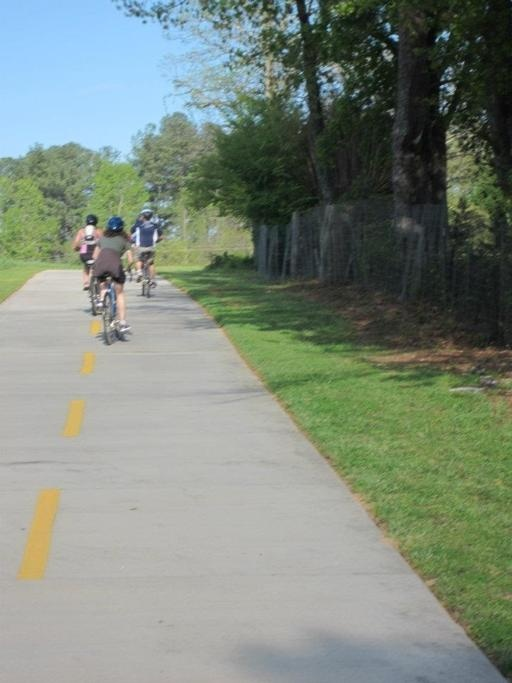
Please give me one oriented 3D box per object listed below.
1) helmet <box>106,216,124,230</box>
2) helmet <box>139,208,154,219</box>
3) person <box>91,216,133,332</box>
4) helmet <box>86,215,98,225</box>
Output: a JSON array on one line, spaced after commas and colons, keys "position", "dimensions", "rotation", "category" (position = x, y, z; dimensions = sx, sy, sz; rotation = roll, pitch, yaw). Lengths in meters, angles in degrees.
[{"position": [-2.150, -1.798, 12.554], "dimensions": [0.220, 0.113, 0.326], "rotation": [-3, 39, -15], "category": "helmet"}, {"position": [-2.595, -3.035, 19.474], "dimensions": [0.311, 0.311, 0.363], "rotation": [1, 25, -2], "category": "helmet"}, {"position": [-2.170, -1.017, 12.447], "dimensions": [0.581, 1.727, 0.754], "rotation": [-2, 9, -10], "category": "person"}, {"position": [-3.263, -2.425, 16.249], "dimensions": [0.240, 0.283, 0.316], "rotation": [1, 13, -1], "category": "helmet"}]
